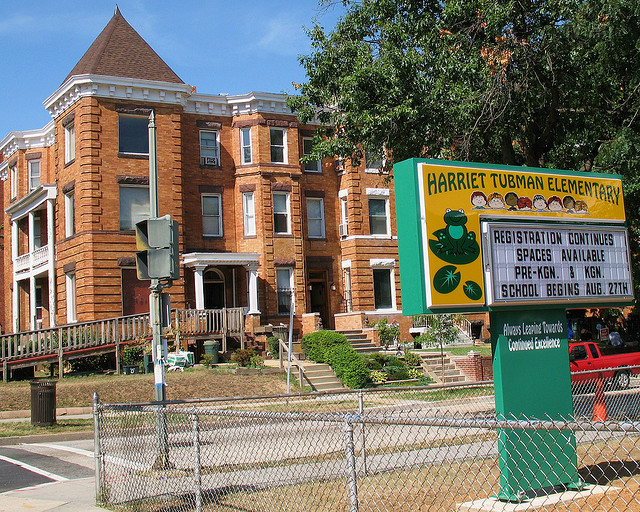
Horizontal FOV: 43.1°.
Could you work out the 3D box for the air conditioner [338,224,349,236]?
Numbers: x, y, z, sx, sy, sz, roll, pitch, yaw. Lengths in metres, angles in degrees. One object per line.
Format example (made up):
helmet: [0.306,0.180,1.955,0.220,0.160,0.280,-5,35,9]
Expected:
air conditioner: [1.162,-1.280,40.224,0.174,0.515,0.521,3,-7,-24]

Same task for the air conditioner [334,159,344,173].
air conditioner: [0.940,-4.543,40.561,0.225,0.705,0.983,-2,-6,-15]

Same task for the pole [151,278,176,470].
pole: [-3.162,2.252,15.726,0.502,3.533,0.779,-1,-3,-33]

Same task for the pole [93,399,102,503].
pole: [-3.892,3.401,14.275,0.092,1.744,0.649,-1,-6,-16]

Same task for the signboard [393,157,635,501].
signboard: [3.545,0.599,14.308,4.390,4.588,0.537,-1,-6,-19]
